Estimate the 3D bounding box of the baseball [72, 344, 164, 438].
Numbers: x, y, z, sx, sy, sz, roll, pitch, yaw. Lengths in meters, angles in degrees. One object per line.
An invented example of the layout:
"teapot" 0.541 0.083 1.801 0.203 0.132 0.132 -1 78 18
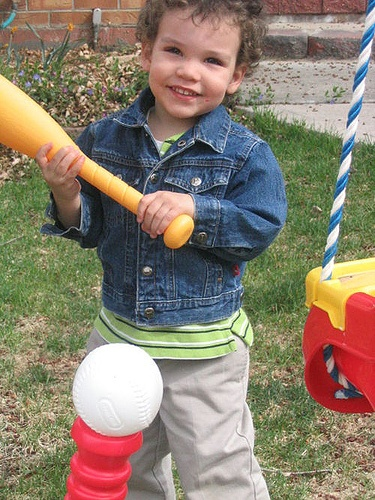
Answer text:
"baseball" -0.105 0.219 0.881 0.118 0.133 0.116 19 19 35
